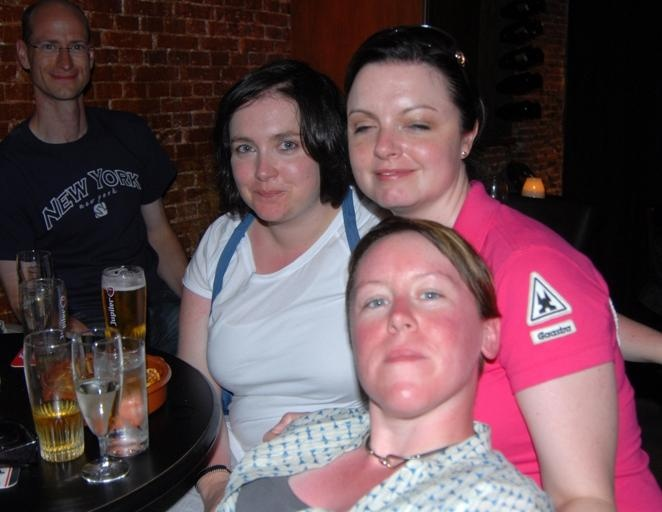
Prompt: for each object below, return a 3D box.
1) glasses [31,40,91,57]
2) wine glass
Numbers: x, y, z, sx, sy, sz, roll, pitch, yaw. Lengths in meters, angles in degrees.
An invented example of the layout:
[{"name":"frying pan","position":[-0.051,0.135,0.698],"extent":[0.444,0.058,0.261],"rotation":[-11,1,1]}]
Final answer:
[{"name":"glasses","position":[-1.433,-1.087,2.941],"extent":[0.261,0.081,0.085],"rotation":[-13,18,-29]},{"name":"wine glass","position":[-0.542,0.333,1.314],"extent":[0.125,0.308,0.240],"rotation":[-8,16,-15]}]
